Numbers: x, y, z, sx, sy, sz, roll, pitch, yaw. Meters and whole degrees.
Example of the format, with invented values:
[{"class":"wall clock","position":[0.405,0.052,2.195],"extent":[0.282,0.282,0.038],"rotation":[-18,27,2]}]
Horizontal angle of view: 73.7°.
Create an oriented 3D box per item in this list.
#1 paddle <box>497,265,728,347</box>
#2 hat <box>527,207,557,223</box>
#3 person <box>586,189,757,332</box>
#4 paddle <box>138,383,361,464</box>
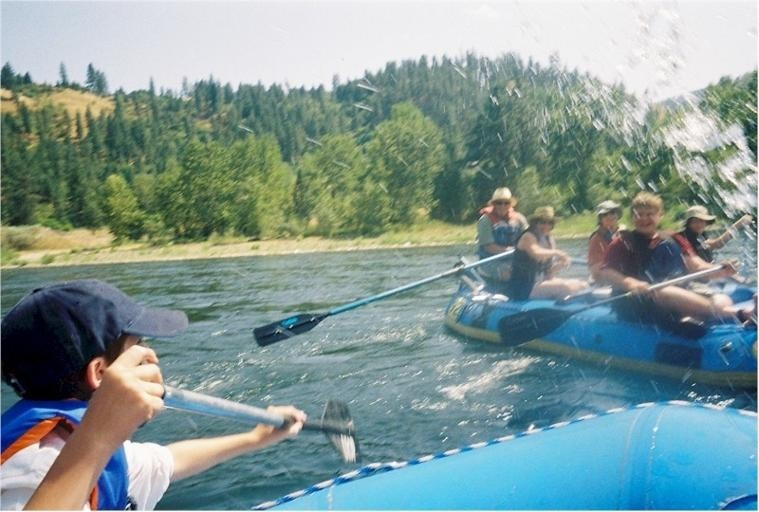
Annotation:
[{"class":"paddle","position":[2.270,0.490,4.816],"extent":[2.355,0.326,0.163],"rotation":[-20,-26,31]},{"class":"hat","position":[1.763,-0.445,5.455],"extent":[0.273,0.196,0.522],"rotation":[-1,12,19]},{"class":"person","position":[2.628,0.018,4.587],"extent":[1.141,1.166,0.749],"rotation":[1,13,24]},{"class":"paddle","position":[-0.462,0.631,1.957],"extent":[1.006,0.049,0.352],"rotation":[29,20,-38]}]
